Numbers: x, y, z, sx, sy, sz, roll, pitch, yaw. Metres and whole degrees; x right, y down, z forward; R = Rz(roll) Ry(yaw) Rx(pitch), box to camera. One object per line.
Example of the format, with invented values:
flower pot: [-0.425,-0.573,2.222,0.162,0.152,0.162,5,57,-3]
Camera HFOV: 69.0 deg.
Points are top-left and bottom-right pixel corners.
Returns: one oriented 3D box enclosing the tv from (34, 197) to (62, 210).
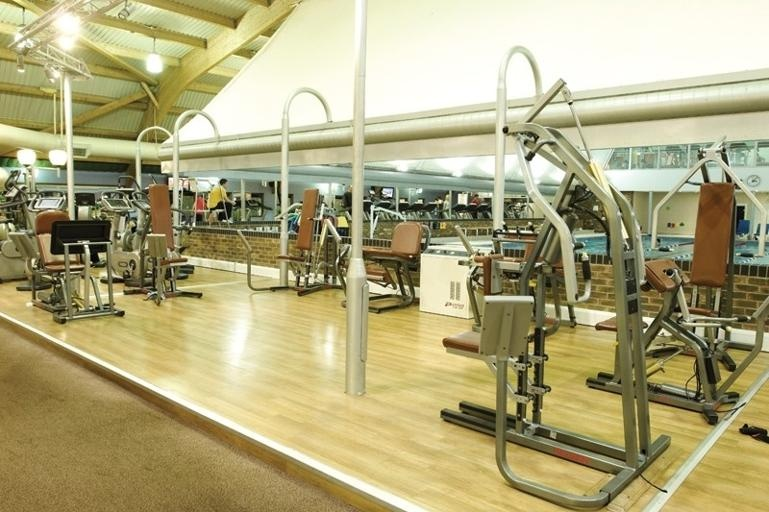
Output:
tv: [-5.682,-0.908,9.556,0.451,0.212,0.469,0,5,-12]

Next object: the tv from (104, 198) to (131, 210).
tv: [-4.572,-0.906,9.595,0.336,0.096,0.323,-11,49,-49]

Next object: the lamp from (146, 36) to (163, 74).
lamp: [-5.388,-4.863,13.187,0.353,0.340,1.613,20,29,-34]

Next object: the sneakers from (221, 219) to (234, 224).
sneakers: [-3.691,-0.836,13.193,0.308,0.091,0.215,-1,2,10]

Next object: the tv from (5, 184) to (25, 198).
tv: [-6.253,-1.111,9.539,0.264,0.210,0.930,-3,7,-40]
